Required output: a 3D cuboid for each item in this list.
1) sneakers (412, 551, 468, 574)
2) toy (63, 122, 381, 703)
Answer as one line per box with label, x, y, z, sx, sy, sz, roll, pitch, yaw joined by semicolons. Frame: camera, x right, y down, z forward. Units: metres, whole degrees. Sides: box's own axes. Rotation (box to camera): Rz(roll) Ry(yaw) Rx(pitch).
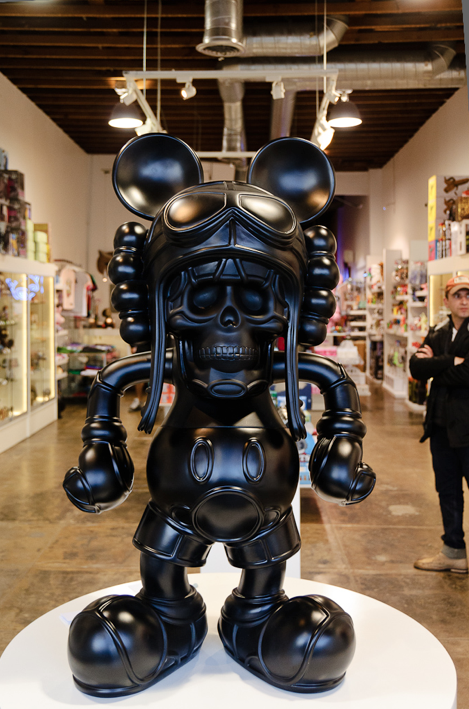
sneakers;1.094;1.081;3.134;0.280;0.121;0.105;0;-7;25
toy;-0.023;0.072;1.123;0.589;1.023;0.376;0;-4;-12
